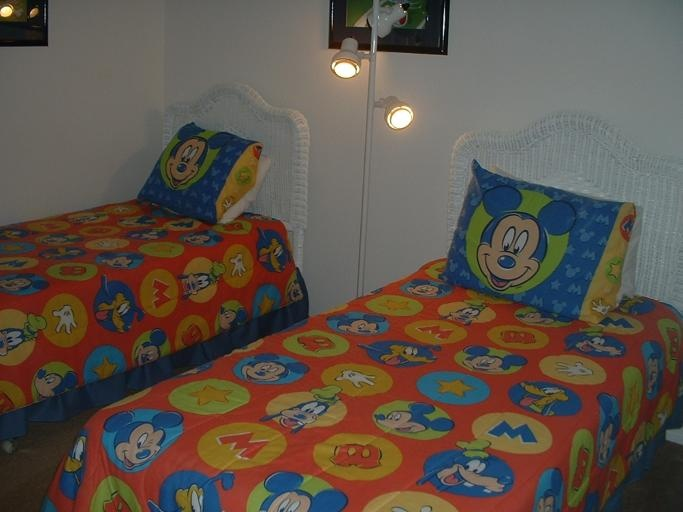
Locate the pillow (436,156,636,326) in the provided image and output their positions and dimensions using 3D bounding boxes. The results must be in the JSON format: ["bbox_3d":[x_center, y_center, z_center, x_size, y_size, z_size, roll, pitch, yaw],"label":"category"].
[{"bbox_3d":[0.857,-0.038,2.363,0.313,0.542,0.841,-10,19,-39],"label":"pillow"}]
